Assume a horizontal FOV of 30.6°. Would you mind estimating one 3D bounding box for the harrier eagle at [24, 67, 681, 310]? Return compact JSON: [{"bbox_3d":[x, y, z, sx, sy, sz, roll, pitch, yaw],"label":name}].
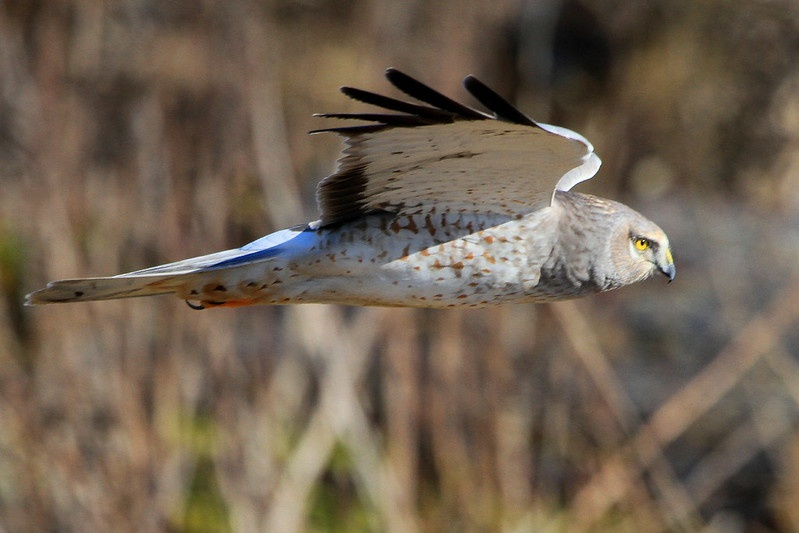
[{"bbox_3d":[-0.210,-0.154,7.247,3.282,0.712,2.860,1,-21,-5],"label":"harrier eagle"}]
